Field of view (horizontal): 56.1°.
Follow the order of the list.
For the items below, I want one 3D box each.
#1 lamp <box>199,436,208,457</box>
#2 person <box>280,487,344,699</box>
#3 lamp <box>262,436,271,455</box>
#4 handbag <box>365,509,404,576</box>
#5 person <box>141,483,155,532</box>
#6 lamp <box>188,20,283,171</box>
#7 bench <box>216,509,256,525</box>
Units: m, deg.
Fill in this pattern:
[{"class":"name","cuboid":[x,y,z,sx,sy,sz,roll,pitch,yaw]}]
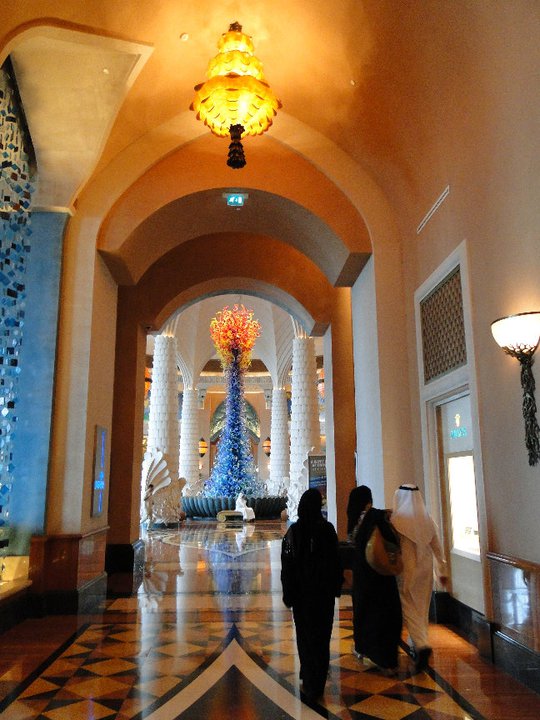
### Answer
[{"class":"lamp","cuboid":[-3.586,4.743,27.417,0.423,1.005,0.365,-1,-13,5]},{"class":"person","cuboid":[0.218,1.192,2.674,0.320,0.986,0.273,-2,-13,6]},{"class":"lamp","cuboid":[-0.227,4.762,27.614,0.330,0.962,0.280,5,-14,-20]},{"class":"handbag","cuboid":[0.684,1.112,3.043,0.174,0.420,0.147,14,-38,-17]},{"class":"person","cuboid":[-3.235,3.692,13.000,0.346,1.235,0.290,-6,-43,-9]},{"class":"lamp","cuboid":[-0.256,-1.718,3.697,0.659,0.970,0.455,0,-13,1]},{"class":"bench","cuboid":[-1.012,4.509,14.682,1.069,0.417,1.565,-2,-15,8]}]
